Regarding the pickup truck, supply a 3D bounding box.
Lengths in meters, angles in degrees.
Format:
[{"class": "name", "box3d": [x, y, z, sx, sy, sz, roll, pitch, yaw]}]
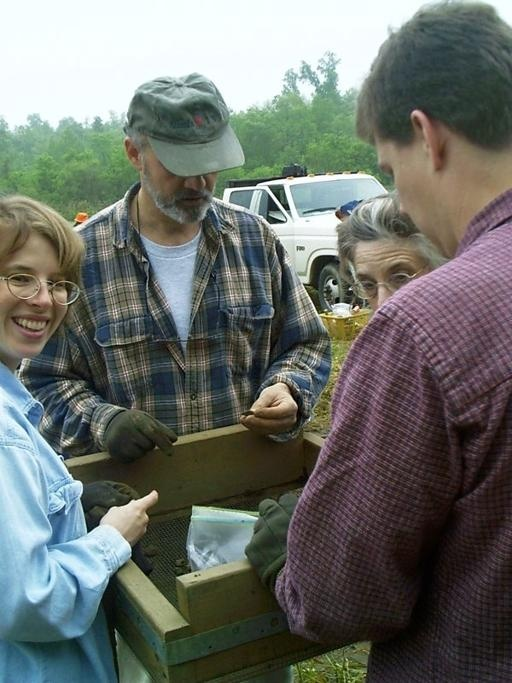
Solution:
[{"class": "pickup truck", "box3d": [1.119, -2.014, 11.158, 2.561, 1.790, 3.538, -9, 13, -29]}]

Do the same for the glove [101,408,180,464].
[{"class": "glove", "box3d": [-0.408, 0.313, 2.070, 0.198, 0.165, 0.275, 6, -11, -44]}]

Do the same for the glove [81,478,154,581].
[{"class": "glove", "box3d": [-0.418, 0.542, 1.747, 0.267, 0.251, 0.107, -3, -28, -16]}]
